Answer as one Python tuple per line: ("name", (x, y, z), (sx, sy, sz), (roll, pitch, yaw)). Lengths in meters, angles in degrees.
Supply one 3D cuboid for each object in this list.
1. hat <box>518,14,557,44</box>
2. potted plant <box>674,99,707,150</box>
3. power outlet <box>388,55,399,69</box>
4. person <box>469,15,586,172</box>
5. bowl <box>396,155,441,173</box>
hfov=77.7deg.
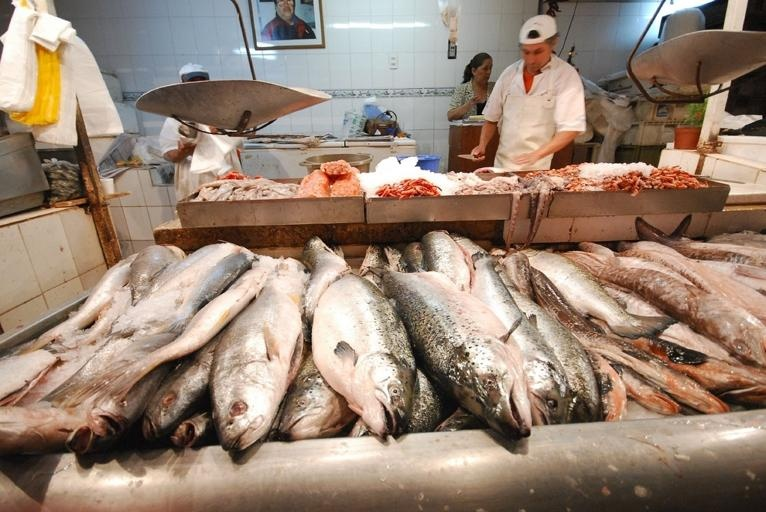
("hat", (1.381, -1.999, 4.247), (0.256, 0.170, 0.339), (-1, 34, 34))
("potted plant", (2.905, -1.239, 4.523), (0.195, 0.414, 0.806), (12, 22, 29))
("power outlet", (0.154, -3.018, 7.368), (0.218, 0.243, 0.026), (0, 26, -2))
("person", (1.414, -1.548, 4.700), (0.575, 1.399, 1.014), (-10, 23, -21))
("bowl", (0.412, -0.873, 4.504), (0.196, 0.139, 0.389), (-1, 18, -2))
